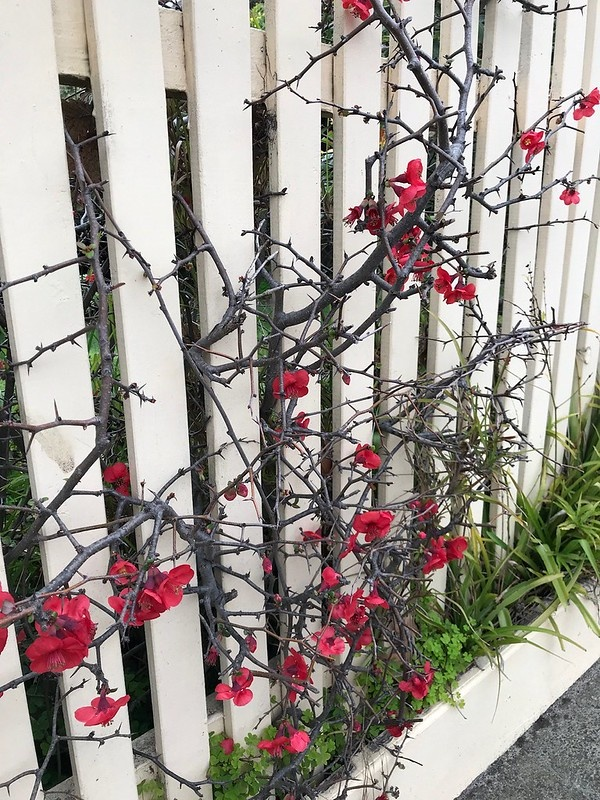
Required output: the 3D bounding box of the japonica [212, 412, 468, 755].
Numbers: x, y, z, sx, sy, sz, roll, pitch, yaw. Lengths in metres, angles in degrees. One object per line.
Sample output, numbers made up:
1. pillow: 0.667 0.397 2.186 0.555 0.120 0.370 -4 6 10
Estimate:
1. japonica: 0.039 0.415 1.684 0.595 0.800 0.266 -5 4 -45
